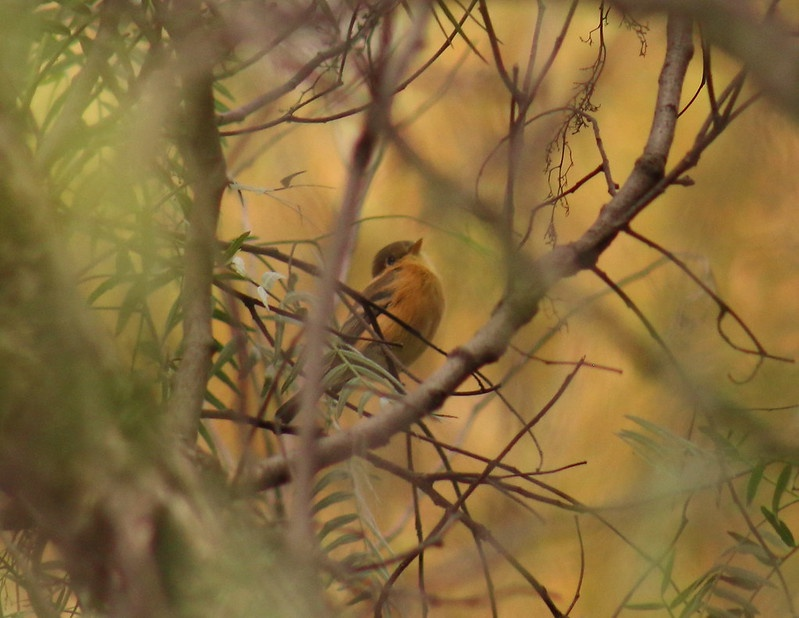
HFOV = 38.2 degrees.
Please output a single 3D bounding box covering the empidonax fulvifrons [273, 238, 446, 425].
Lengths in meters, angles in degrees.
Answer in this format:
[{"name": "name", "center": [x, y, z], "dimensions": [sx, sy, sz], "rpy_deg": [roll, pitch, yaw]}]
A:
[{"name": "empidonax fulvifrons", "center": [-0.082, 0.049, 2.326], "dimensions": [0.336, 0.266, 0.165], "rpy_deg": [-24, -26, 12]}]
